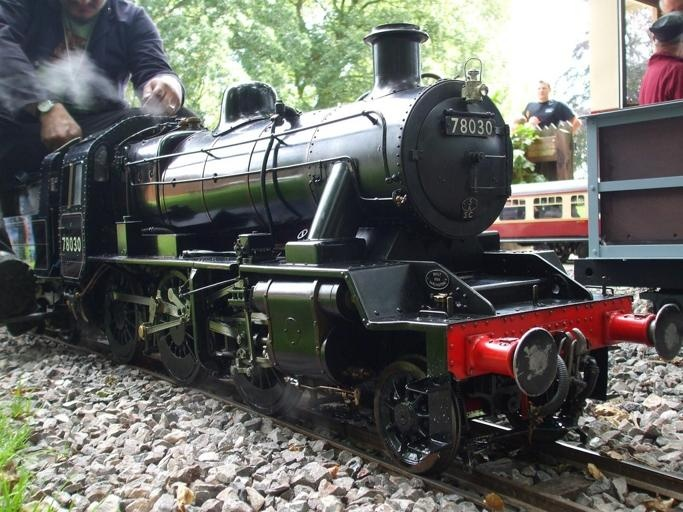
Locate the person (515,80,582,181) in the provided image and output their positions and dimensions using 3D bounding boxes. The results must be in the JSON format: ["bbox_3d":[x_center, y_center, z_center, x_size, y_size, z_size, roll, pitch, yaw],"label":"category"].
[{"bbox_3d":[5.005,-2.972,12.580,1.287,2.317,1.133,0,8,19],"label":"person"}]
